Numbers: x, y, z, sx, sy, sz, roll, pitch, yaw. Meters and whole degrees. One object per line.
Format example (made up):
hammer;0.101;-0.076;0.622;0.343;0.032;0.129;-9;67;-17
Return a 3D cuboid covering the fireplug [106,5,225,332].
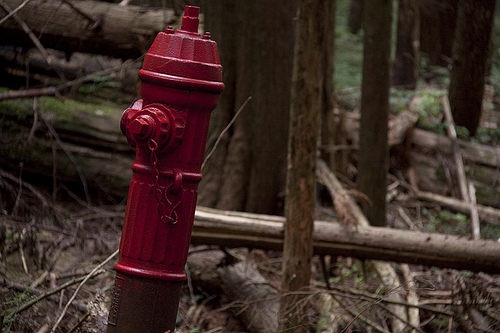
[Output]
fireplug;-0.613;0.040;4.308;0.773;2.354;0.362;1;10;-7

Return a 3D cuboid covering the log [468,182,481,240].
log;1.976;0.431;5.320;0.100;0.129;0.767;26;37;2

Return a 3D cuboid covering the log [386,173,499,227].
log;1.751;0.286;5.326;0.819;0.136;0.128;24;-11;14

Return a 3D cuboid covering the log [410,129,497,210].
log;1.825;0.015;5.307;0.536;0.393;0.090;11;8;9

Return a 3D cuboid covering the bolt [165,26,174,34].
bolt;-0.575;-0.980;4.280;0.049;0.060;0.051;-2;8;-27

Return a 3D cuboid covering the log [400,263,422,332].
log;1.405;1.120;5.253;0.093;0.483;0.069;-15;-18;24

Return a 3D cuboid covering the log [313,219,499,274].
log;1.439;0.695;5.321;1.918;0.351;0.294;5;-5;6

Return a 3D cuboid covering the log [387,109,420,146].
log;1.348;-0.378;5.358;0.193;0.360;0.092;27;26;22
